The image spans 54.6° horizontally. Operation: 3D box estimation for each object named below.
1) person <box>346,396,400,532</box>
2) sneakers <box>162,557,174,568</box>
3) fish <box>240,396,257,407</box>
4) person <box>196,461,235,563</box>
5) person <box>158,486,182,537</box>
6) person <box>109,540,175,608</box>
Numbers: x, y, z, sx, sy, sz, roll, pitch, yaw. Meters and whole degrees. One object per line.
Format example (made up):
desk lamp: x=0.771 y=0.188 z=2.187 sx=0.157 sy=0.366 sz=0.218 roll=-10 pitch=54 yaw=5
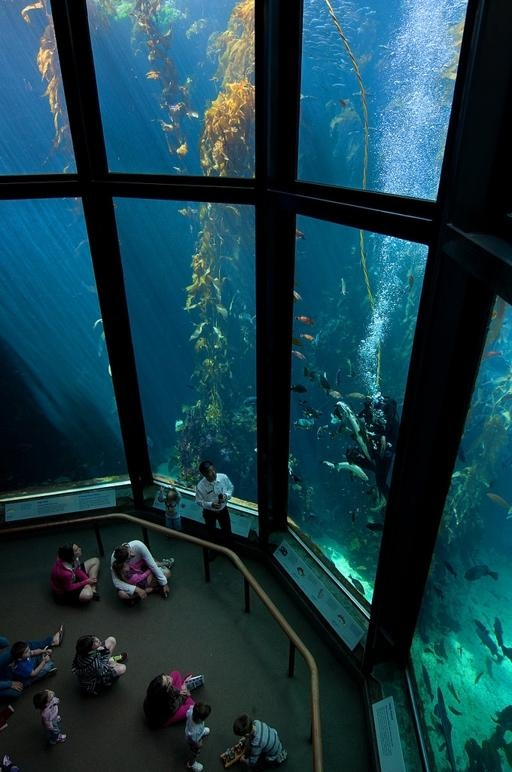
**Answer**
person: x=1.038 y=0.752 z=4.389 sx=0.194 sy=1.407 sz=0.816 roll=-4 pitch=8 yaw=-6
sneakers: x=-1.124 y=2.277 z=6.384 sx=0.083 sy=0.049 sz=0.126 roll=5 pitch=8 yaw=-2
fish: x=-0.084 y=0.192 z=6.094 sx=0.032 sy=0.140 sz=0.217 roll=-9 pitch=10 yaw=-39
person: x=-0.514 y=1.540 z=6.276 sx=0.425 sy=1.485 sz=0.968 roll=-4 pitch=8 yaw=-5
person: x=-1.204 y=1.693 z=6.960 sx=0.306 sy=0.707 sz=0.782 roll=-5 pitch=9 yaw=-13
person: x=-1.336 y=2.140 z=5.897 sx=0.434 sy=0.850 sz=0.818 roll=4 pitch=11 yaw=41
